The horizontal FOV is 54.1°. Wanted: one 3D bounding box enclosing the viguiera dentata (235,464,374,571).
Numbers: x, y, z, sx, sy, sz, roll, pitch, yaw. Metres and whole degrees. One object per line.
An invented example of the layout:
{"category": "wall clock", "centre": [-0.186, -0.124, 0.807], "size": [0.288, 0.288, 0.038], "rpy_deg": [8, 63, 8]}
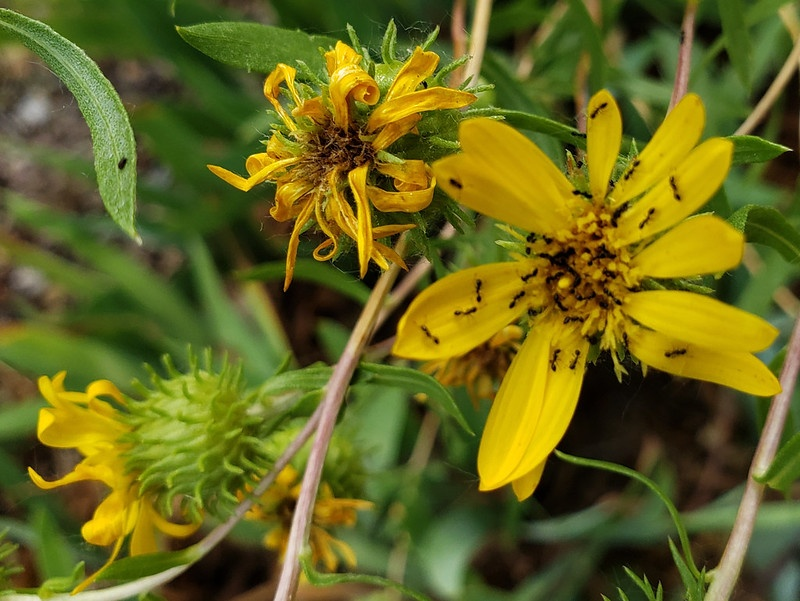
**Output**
{"category": "viguiera dentata", "centre": [-0.168, 0.425, 1.501], "size": [0.198, 0.382, 0.181], "rpy_deg": [24, 82, 10]}

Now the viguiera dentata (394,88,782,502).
{"category": "viguiera dentata", "centre": [0.235, -0.022, 1.134], "size": [0.522, 0.224, 0.479], "rpy_deg": [-17, 78, 1]}

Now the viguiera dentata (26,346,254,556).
{"category": "viguiera dentata", "centre": [-0.299, 0.275, 1.375], "size": [0.356, 0.315, 0.195], "rpy_deg": [16, 73, -2]}
